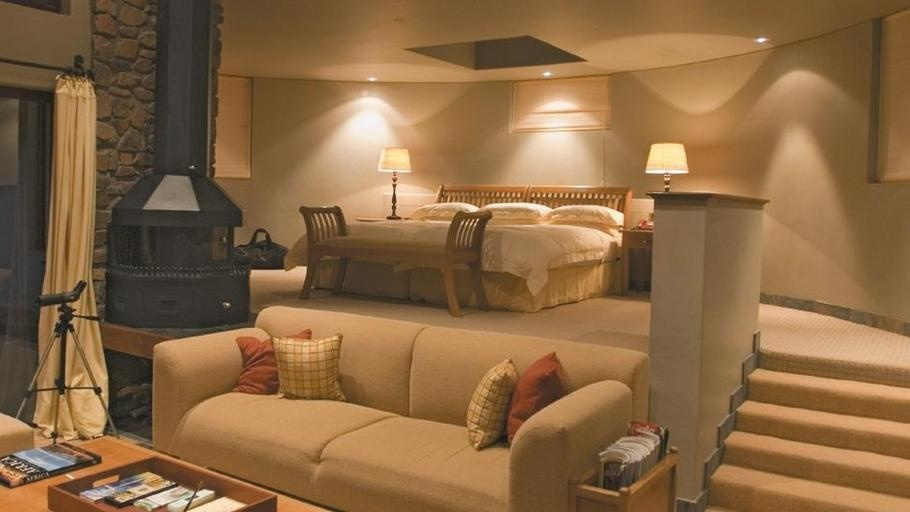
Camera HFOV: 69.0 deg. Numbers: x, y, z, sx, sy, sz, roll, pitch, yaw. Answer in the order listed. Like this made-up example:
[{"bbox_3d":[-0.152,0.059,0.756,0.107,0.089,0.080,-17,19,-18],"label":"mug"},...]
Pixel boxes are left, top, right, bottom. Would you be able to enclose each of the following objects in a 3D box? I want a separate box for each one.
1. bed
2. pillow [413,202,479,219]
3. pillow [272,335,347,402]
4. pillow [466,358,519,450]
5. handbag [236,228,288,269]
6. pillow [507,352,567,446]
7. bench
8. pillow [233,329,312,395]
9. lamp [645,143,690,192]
[{"bbox_3d":[0.614,-0.075,8.454,2.735,1.002,2.622,2,3,38],"label":"bed"},{"bbox_3d":[-0.126,-0.716,10.266,0.578,0.150,0.613,2,8,39],"label":"pillow"},{"bbox_3d":[-1.255,0.987,5.797,0.676,0.539,0.235,-1,-3,0],"label":"pillow"},{"bbox_3d":[0.315,1.184,5.251,0.305,0.445,0.551,25,25,5],"label":"pillow"},{"bbox_3d":[-3.090,-0.120,10.533,0.781,0.469,0.370,1,6,-2],"label":"handbag"},{"bbox_3d":[0.672,1.055,5.415,0.404,0.438,0.668,4,6,9],"label":"pillow"},{"bbox_3d":[-0.751,0.003,7.899,2.268,1.142,0.740,5,8,25],"label":"bench"},{"bbox_3d":[-1.548,1.028,6.141,0.426,0.613,0.771,3,-5,-24],"label":"pillow"},{"bbox_3d":[3.005,-1.268,9.323,0.546,0.675,0.605,4,7,17],"label":"lamp"}]
